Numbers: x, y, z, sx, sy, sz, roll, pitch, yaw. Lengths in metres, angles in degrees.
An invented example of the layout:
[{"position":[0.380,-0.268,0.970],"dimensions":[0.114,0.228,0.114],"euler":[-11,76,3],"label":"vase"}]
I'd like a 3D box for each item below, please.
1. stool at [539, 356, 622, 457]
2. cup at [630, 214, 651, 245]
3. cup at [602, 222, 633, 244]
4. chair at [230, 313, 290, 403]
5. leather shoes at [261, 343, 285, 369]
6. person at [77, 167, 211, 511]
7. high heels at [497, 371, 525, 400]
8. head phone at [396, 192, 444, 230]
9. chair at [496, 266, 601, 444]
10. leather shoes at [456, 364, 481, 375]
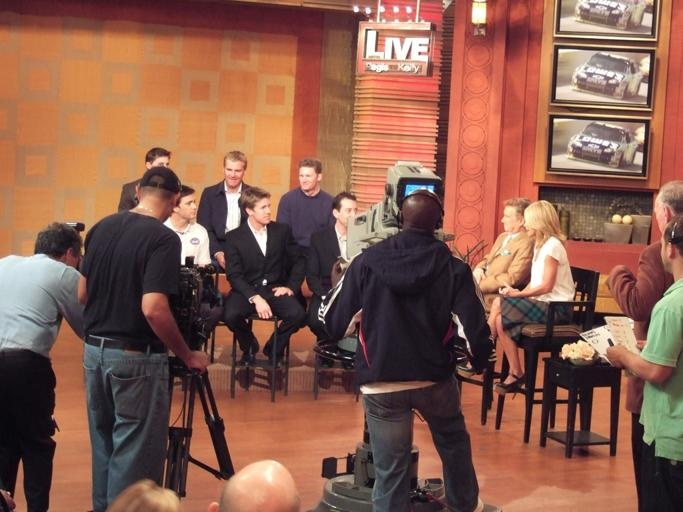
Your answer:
[{"position":[1.859,1.158,5.869],"dimensions":[0.496,0.756,0.551],"euler":[1,0,2],"label":"stool"},{"position":[3.785,-0.328,9.515],"dimensions":[0.306,0.476,0.304],"euler":[1,3,0],"label":"cup"},{"position":[3.464,-0.271,9.523],"dimensions":[0.279,0.369,0.255],"euler":[4,-1,0],"label":"cup"},{"position":[-0.765,0.850,7.153],"dimensions":[0.537,0.713,1.382],"euler":[0,4,-5],"label":"chair"},{"position":[-0.621,0.909,6.940],"dimensions":[0.154,0.281,0.275],"euler":[3,-7,-3],"label":"leather shoes"},{"position":[-1.163,0.609,4.319],"dimensions":[0.664,1.721,0.323],"euler":[0,4,-9],"label":"person"},{"position":[1.364,1.080,6.236],"dimensions":[0.349,0.174,0.123],"euler":[0,-3,-36],"label":"high heels"},{"position":[0.440,-0.248,4.166],"dimensions":[0.170,0.240,0.231],"euler":[4,31,-2],"label":"head phone"},{"position":[1.821,0.790,6.273],"dimensions":[0.690,1.453,0.808],"euler":[13,3,34],"label":"chair"},{"position":[0.729,0.651,4.323],"dimensions":[0.066,0.047,0.122],"euler":[8,16,-47],"label":"leather shoes"}]
